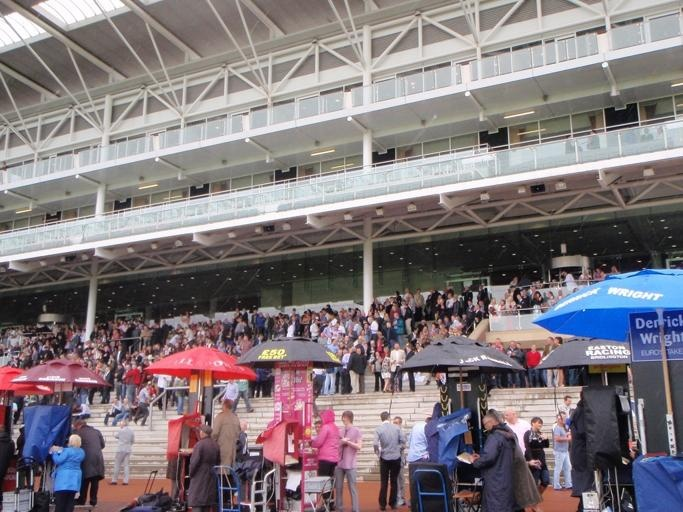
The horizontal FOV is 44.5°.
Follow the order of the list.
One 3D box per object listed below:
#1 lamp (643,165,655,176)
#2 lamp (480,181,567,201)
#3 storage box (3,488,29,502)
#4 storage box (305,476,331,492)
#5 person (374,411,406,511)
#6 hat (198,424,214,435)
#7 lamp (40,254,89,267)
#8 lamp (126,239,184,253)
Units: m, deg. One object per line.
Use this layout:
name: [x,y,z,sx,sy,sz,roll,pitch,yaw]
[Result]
lamp: [12.121,-3.409,32.982,0.591,0.345,0.308,0,3,4]
lamp: [8.063,-2.787,35.238,4.680,0.674,0.995,-3,16,16]
storage box: [-8.750,6.640,22.809,0.375,0.136,0.467,-2,-5,29]
storage box: [-0.576,5.969,21.591,0.584,0.188,0.417,3,-10,-23]
person: [1.326,5.740,23.050,0.821,2.654,1.141,-1,-14,-2]
hat: [-3.540,4.618,21.803,0.234,0.228,0.271,-1,11,-27]
lamp: [-14.797,0.273,44.653,1.693,0.322,1.045,-5,-11,7]
lamp: [-9.845,-0.362,43.209,2.486,0.511,2.008,-4,-13,12]
